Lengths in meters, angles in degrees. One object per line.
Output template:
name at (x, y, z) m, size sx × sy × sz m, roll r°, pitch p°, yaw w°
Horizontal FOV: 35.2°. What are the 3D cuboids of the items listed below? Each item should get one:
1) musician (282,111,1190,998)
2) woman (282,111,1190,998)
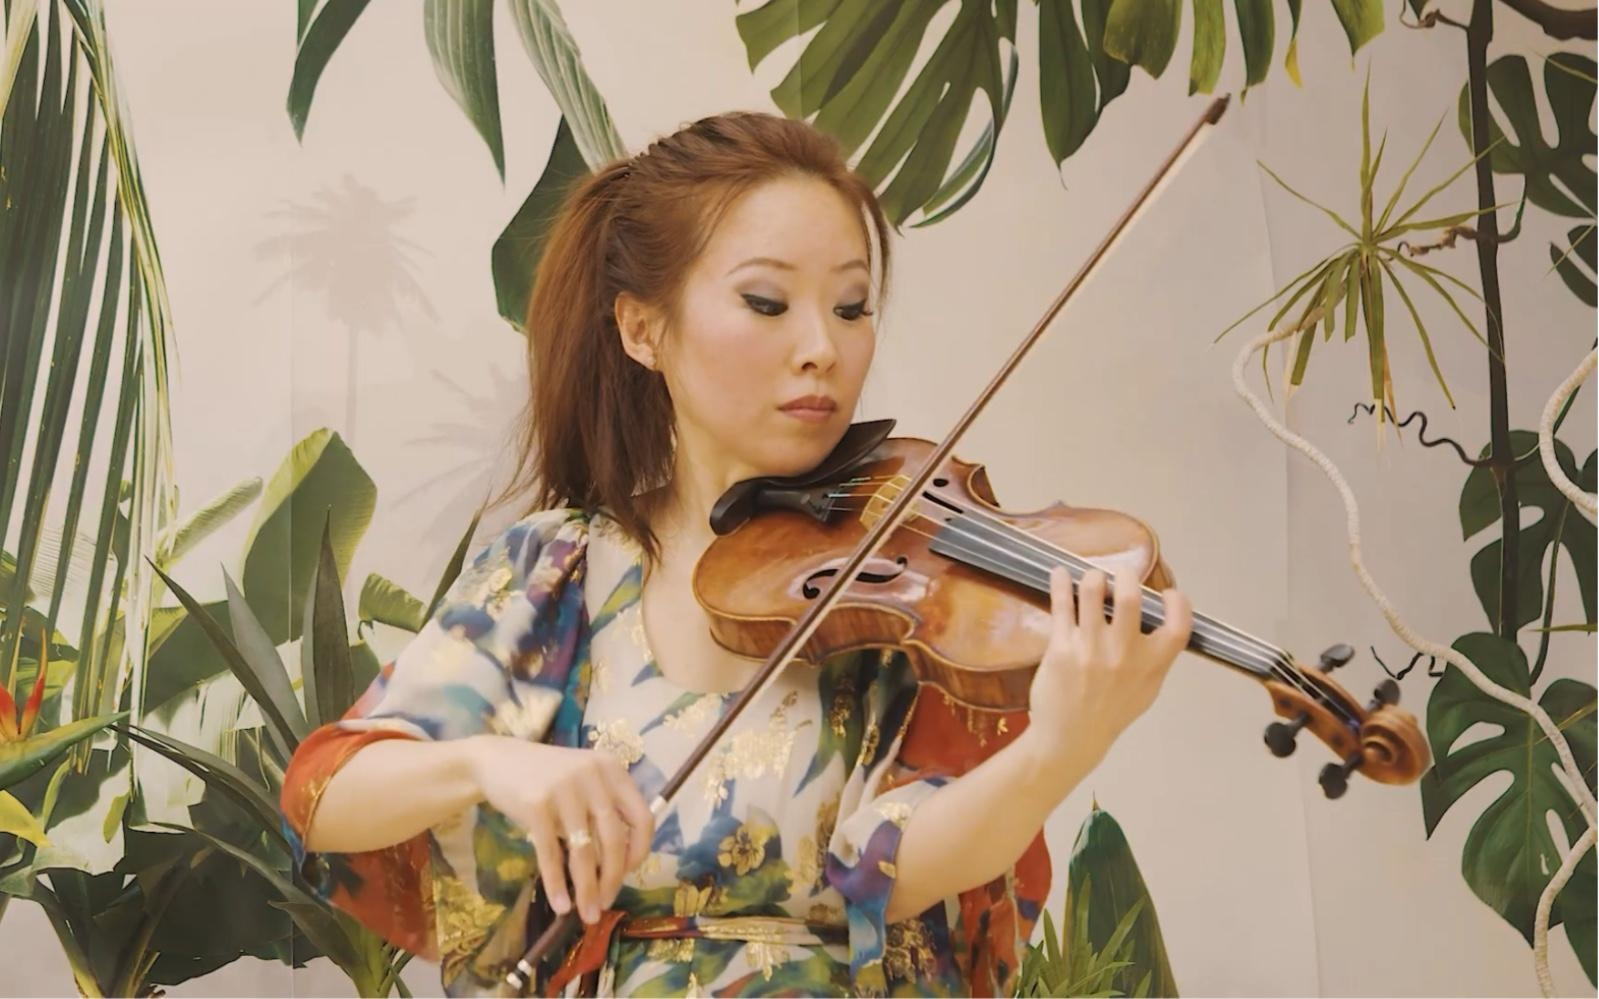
musician at (-0.193, 0.146, 4.768) m, size 1.323 × 2.127 × 0.684 m, roll 7°, pitch -17°, yaw -3°
woman at (-0.193, 0.146, 4.768) m, size 1.323 × 2.127 × 0.684 m, roll 7°, pitch -17°, yaw -3°
